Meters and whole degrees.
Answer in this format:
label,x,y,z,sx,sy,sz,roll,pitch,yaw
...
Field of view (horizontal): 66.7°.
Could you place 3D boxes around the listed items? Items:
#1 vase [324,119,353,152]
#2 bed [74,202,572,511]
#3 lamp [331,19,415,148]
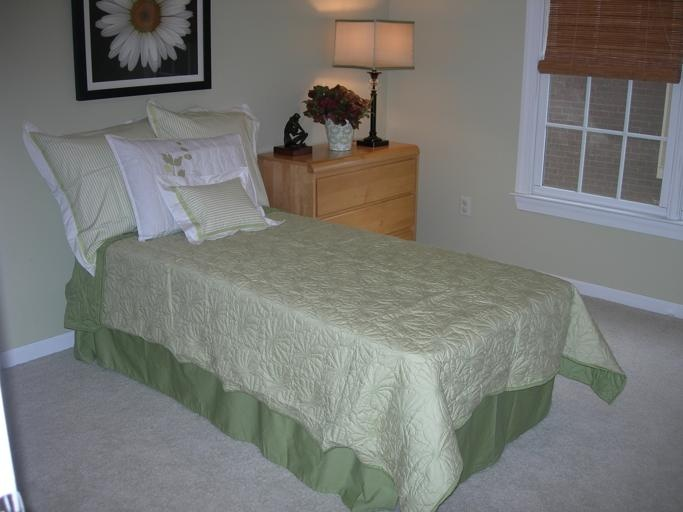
label,x,y,z,sx,sy,sz,roll,pitch,yaw
vase,-0.034,-0.932,3.997,0.206,0.257,0.217,-5,21,-10
bed,-0.207,0.314,2.403,1.769,0.574,1.171,18,30,35
lamp,0.258,-1.377,4.189,0.608,0.968,0.664,3,21,7
